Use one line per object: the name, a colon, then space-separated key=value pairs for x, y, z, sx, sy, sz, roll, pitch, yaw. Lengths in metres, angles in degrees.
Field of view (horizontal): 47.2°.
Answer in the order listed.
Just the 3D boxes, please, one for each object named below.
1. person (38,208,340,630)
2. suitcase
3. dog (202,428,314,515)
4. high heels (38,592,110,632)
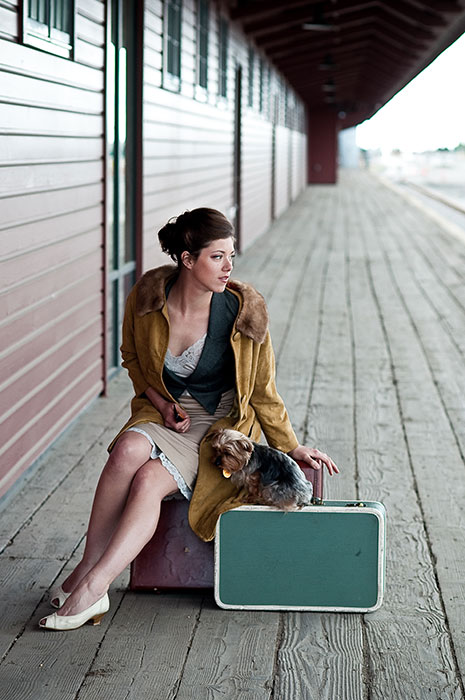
person: x=-0.155 y=0.212 z=1.361 sx=0.612 sy=0.985 sz=0.844 roll=17 pitch=28 yaw=22
suitcase: x=0.163 y=0.524 z=1.329 sx=0.417 sy=0.261 sz=0.092 roll=1 pitch=0 yaw=8
dog: x=0.068 y=0.313 z=1.331 sx=0.280 sy=0.133 sz=0.141 roll=24 pitch=27 yaw=-23
high heels: x=-0.368 y=0.618 z=1.281 sx=0.185 sy=0.087 sz=0.065 roll=5 pitch=-2 yaw=-18
